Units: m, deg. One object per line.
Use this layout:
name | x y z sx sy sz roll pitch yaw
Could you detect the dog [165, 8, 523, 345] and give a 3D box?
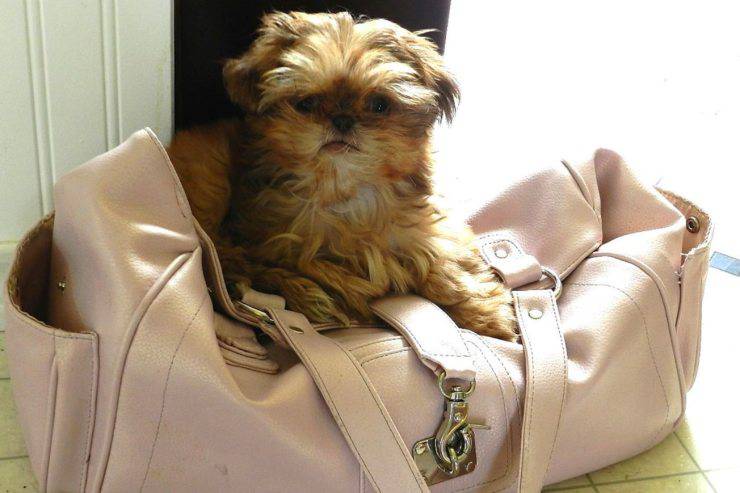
dog | 0.000 -0.118 1.053 0.519 0.438 0.493 4 16 -1
